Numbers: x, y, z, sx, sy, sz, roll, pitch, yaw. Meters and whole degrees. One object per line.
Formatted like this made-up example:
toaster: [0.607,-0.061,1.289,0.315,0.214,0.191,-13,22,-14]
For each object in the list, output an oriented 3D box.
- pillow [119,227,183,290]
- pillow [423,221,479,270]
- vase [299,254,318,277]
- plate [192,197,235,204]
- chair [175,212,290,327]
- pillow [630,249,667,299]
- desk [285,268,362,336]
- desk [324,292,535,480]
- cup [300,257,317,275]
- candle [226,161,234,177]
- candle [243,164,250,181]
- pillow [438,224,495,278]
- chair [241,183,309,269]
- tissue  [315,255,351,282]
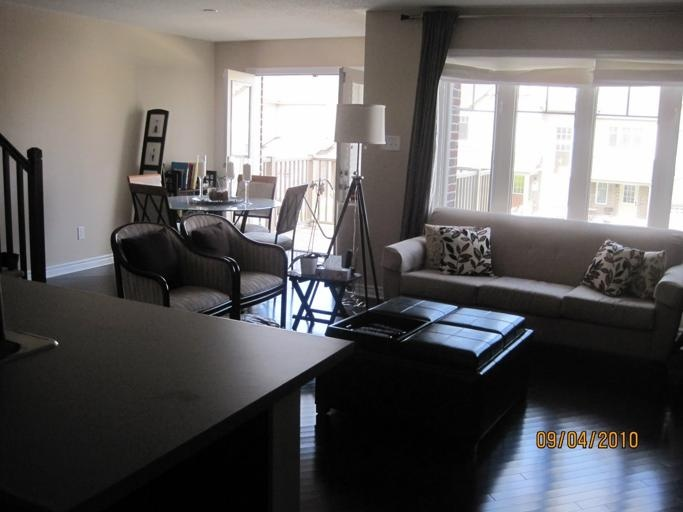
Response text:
pillow: [-1.282,0.026,3.446,0.143,0.412,0.369,-33,-23,29]
pillow: [0.921,-0.071,4.424,0.387,0.279,0.137,-1,11,2]
vase: [-0.264,0.083,4.063,0.133,0.147,0.145,5,5,38]
plate: [-1.240,-0.532,5.029,0.439,0.040,0.399,0,14,-8]
chair: [-0.835,0.153,3.884,0.751,0.890,0.731,3,10,11]
pillow: [2.194,0.138,3.748,0.155,0.276,0.299,-19,6,-24]
desk: [-0.180,0.361,4.254,0.518,0.502,0.537,9,10,36]
desk: [0.608,0.542,3.015,0.900,0.597,0.878,7,15,35]
cup: [-0.258,0.078,3.997,0.132,0.104,0.118,-1,3,-16]
candle: [-1.153,-0.885,5.371,0.060,0.161,0.156,0,13,-7]
candle: [-1.006,-0.874,5.488,0.062,0.179,0.217,-1,13,-11]
pillow: [1.038,-0.023,4.380,0.393,0.400,0.148,0,-8,-3]
chair: [-0.740,-0.228,5.128,0.646,0.895,0.529,2,9,18]
tissue : [-0.065,0.109,4.064,0.212,0.049,0.201,4,16,13]
